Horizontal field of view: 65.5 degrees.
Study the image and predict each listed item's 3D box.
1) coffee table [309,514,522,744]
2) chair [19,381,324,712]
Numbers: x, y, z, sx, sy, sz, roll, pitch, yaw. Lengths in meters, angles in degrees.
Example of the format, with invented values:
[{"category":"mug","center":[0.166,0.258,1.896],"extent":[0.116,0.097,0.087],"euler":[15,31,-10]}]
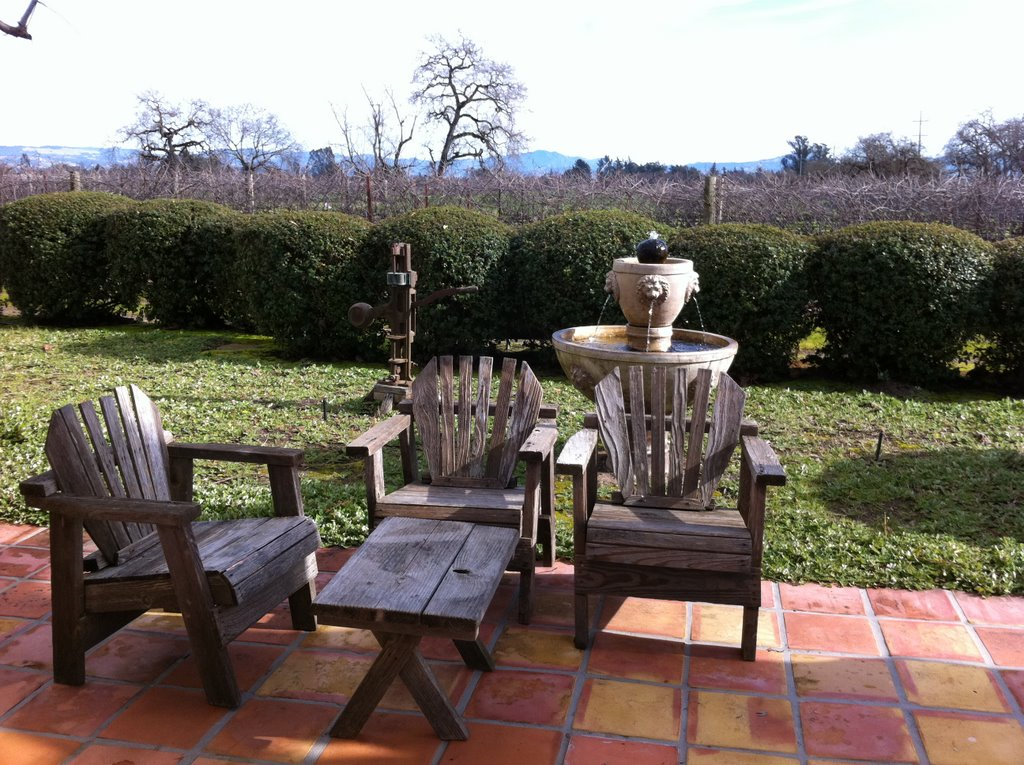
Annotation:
[{"category":"coffee table","center":[-0.353,0.968,3.364],"extent":[0.621,0.511,0.874],"euler":[6,12,10]},{"category":"chair","center":[-1.417,0.660,3.464],"extent":[0.962,1.174,0.706],"euler":[2,14,9]}]
